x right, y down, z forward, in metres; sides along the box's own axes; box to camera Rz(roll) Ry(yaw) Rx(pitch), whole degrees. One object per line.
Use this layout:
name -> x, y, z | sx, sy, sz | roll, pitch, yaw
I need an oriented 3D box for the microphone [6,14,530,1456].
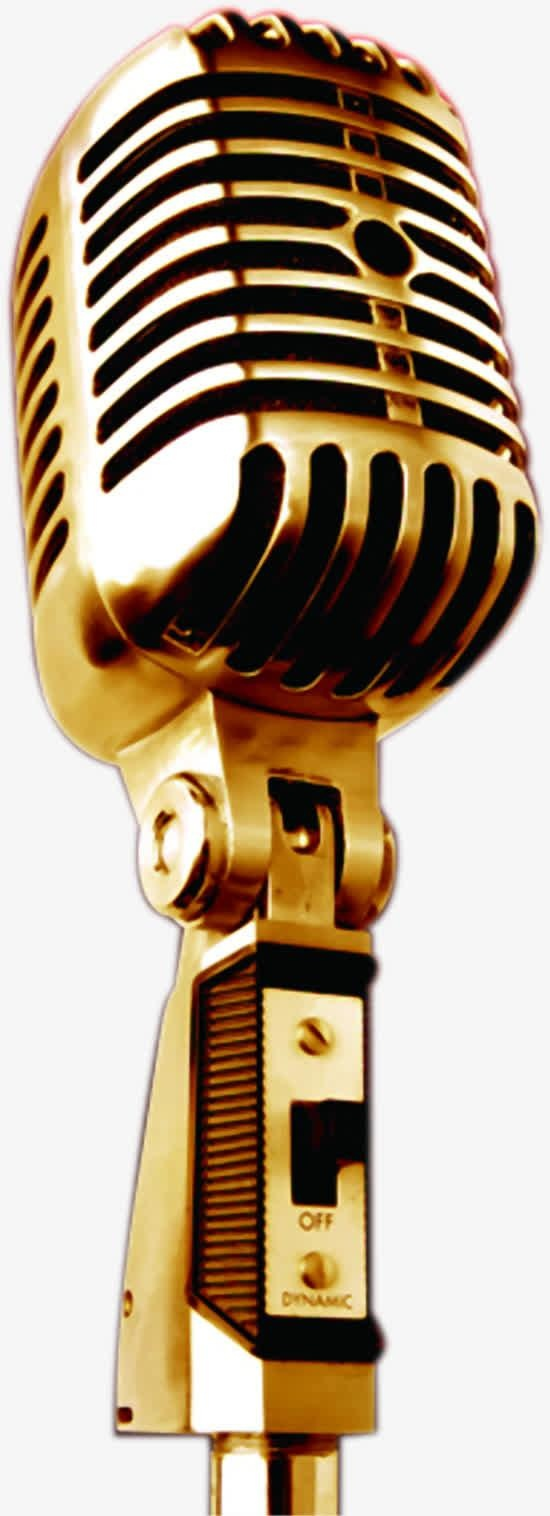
microphone -> -0.017, -0.020, 0.787 | 0.238, 0.609, 0.250 | 22, -32, -36
